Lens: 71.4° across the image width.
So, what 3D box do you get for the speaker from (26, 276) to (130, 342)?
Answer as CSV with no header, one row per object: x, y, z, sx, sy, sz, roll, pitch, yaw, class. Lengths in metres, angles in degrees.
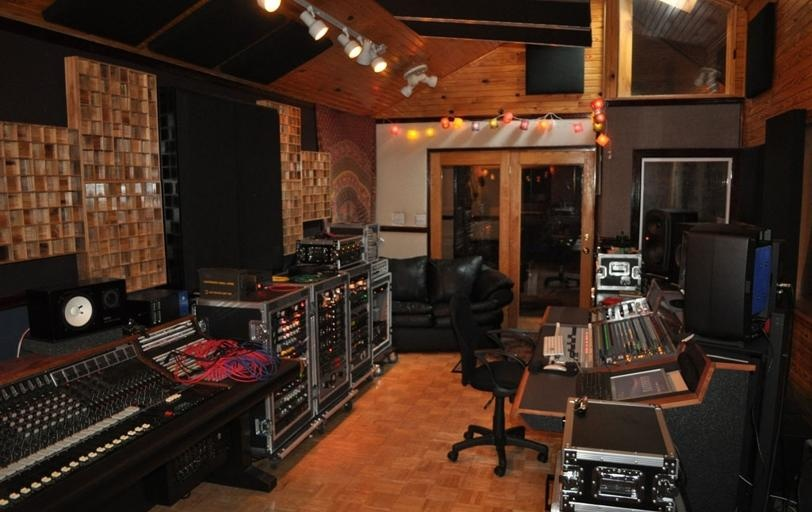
-2.290,0.371,3.976,0.600,0.370,0.206,-5,8,-31,speaker

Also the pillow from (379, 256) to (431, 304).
0.046,0.320,7.789,0.627,0.554,0.236,-4,-7,2,pillow

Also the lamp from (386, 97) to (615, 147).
1.402,-1.843,8.079,2.851,0.675,0.687,2,8,22,lamp

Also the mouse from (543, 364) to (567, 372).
1.113,0.823,4.194,0.120,0.032,0.037,-1,9,13,mouse

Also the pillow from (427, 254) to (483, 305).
0.637,0.286,7.792,0.739,0.614,0.207,-2,-23,2,pillow

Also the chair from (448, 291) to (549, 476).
0.830,1.119,5.251,0.871,1.518,0.832,0,8,8,chair

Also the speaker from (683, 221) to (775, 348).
2.253,0.175,3.941,0.565,0.785,0.362,2,8,24,speaker

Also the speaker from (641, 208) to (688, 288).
2.589,-0.115,5.508,0.359,0.671,0.836,1,7,12,speaker

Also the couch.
0.355,0.611,7.822,1.996,1.071,0.968,-4,15,-4,couch
